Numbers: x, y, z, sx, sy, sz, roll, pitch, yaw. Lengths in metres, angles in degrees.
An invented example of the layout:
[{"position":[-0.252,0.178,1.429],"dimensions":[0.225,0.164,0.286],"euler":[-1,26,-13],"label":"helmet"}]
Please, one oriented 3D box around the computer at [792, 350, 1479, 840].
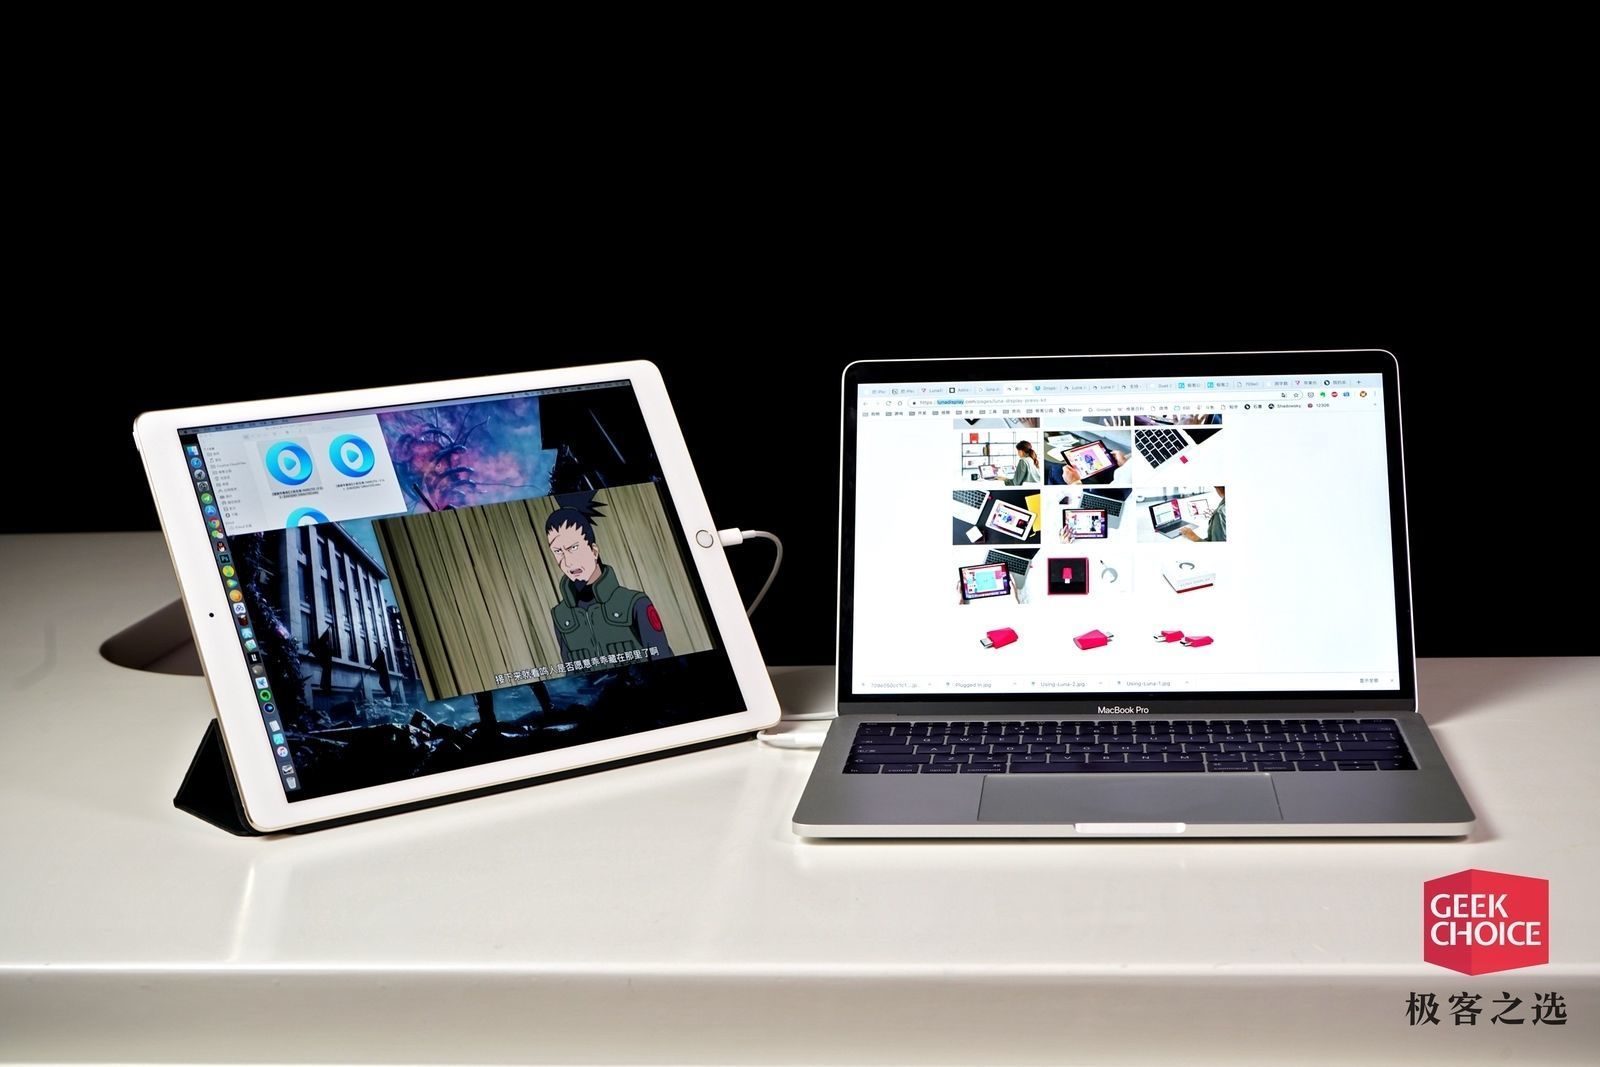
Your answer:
[{"position":[0.256,0.036,1.013],"dimensions":[0.507,0.301,0.373],"euler":[0,15,15],"label":"computer"}]
